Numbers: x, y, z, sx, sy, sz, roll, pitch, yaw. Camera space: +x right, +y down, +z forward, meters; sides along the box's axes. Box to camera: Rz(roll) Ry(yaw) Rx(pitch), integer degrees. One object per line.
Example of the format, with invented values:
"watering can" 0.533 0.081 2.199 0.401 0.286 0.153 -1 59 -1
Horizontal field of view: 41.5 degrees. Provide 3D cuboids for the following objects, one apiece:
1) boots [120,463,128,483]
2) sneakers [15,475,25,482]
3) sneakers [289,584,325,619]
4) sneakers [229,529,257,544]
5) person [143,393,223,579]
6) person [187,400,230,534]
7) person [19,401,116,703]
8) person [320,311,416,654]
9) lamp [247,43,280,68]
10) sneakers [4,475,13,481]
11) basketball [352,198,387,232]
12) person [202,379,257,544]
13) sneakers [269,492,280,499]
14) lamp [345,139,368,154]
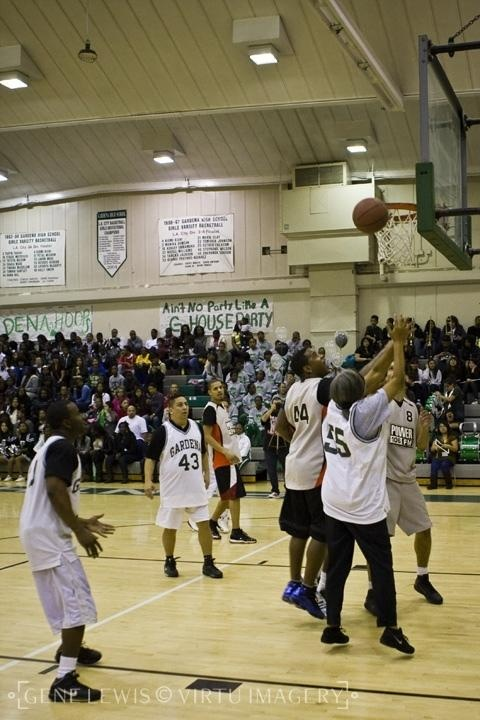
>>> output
"boots" -2.247 2.192 12.346 0.161 0.340 0.531 -3 2 -12
"sneakers" -4.551 2.475 13.117 0.090 0.117 0.260 1 -14 0
"sneakers" 0.376 1.294 3.406 0.212 0.153 0.092 -4 2 -37
"sneakers" 0.017 1.750 6.303 0.297 0.199 0.116 -2 -4 3
"person" -0.457 1.011 4.981 0.549 1.250 0.602 -3 1 -7
"person" -0.400 1.408 8.212 0.739 1.427 0.340 -4 8 -15
"person" -0.692 0.771 2.563 0.370 1.135 0.501 -3 1 0
"person" 0.543 0.603 2.827 0.474 1.100 0.336 -2 1 24
"lamp" 0.393 -5.320 11.066 0.525 0.246 0.599 -3 2 12
"sneakers" -4.812 2.480 13.167 0.082 0.104 0.252 0 -11 5
"basketball" 0.892 -1.011 4.348 0.223 0.182 0.291 -3 2 15
"person" -0.117 0.979 6.110 0.510 1.570 0.493 -3 -1 5
"sneakers" 0.536 2.151 9.979 0.073 0.108 0.241 3 -14 -13
"lamp" 2.553 -4.751 13.932 0.273 0.071 0.251 14 -18 -40
